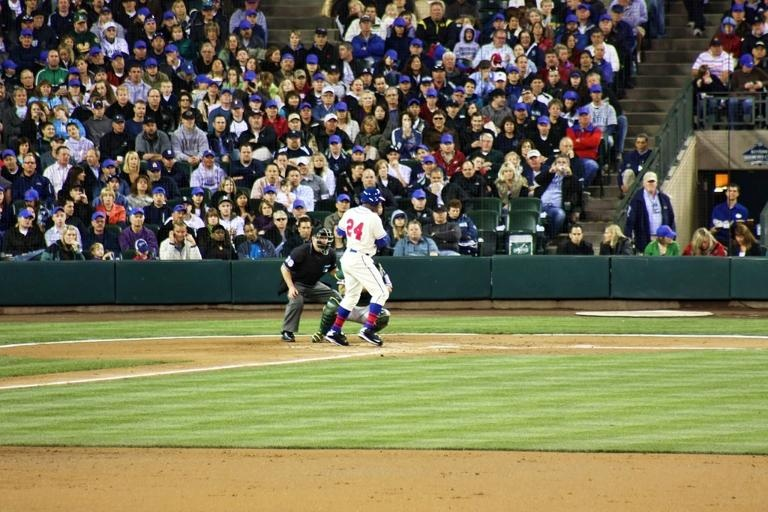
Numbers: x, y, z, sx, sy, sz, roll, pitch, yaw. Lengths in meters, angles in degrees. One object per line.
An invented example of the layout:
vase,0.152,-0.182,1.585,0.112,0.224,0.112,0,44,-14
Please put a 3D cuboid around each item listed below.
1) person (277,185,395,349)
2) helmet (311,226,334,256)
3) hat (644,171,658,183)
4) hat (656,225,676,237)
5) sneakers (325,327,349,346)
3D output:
person,-0.438,0.203,32.172,0.977,2.764,0.461,0,-1,18
helmet,-1.073,-0.262,32.624,0.390,0.440,0.455,0,1,-31
hat,5.227,-1.572,36.492,0.263,0.230,0.378,1,-1,4
hat,5.530,-0.480,36.492,0.314,0.166,0.229,1,7,16
sneakers,-0.835,1.445,32.296,0.485,0.215,0.192,14,26,-9
